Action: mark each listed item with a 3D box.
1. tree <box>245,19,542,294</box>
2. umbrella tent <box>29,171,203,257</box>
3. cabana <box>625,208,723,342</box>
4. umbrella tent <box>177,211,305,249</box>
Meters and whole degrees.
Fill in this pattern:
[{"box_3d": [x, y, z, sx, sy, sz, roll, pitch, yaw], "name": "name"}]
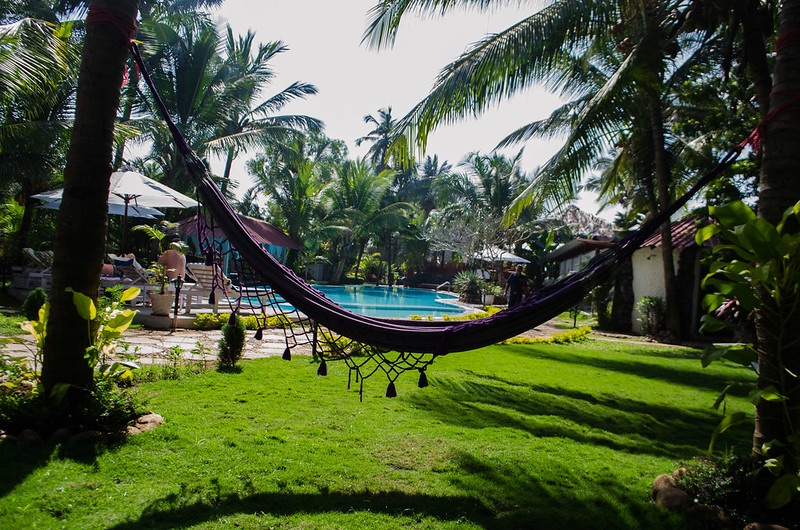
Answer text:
[{"box_3d": [-0.377, -4.446, 24.601, 11.437, 13.733, 10.974, 0, 3, -12], "name": "tree"}, {"box_3d": [-5.222, -0.953, 10.378, 2.605, 1.816, 2.662, 1, -4, 1], "name": "umbrella tent"}, {"box_3d": [7.396, 0.048, 14.717, 2.234, 2.507, 2.393, 17, 0, -28], "name": "cabana"}, {"box_3d": [-2.573, -0.603, 10.448, 1.644, 0.456, 1.624, 9, -5, 0], "name": "umbrella tent"}]
